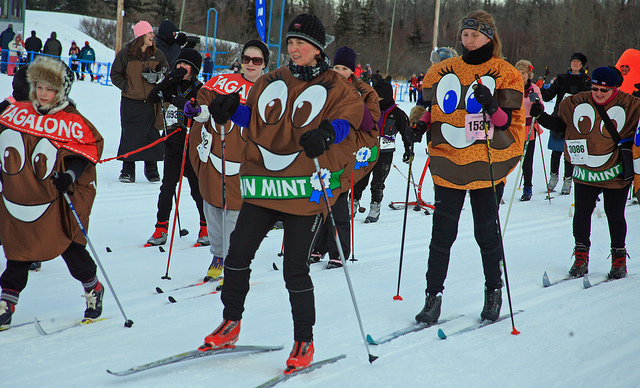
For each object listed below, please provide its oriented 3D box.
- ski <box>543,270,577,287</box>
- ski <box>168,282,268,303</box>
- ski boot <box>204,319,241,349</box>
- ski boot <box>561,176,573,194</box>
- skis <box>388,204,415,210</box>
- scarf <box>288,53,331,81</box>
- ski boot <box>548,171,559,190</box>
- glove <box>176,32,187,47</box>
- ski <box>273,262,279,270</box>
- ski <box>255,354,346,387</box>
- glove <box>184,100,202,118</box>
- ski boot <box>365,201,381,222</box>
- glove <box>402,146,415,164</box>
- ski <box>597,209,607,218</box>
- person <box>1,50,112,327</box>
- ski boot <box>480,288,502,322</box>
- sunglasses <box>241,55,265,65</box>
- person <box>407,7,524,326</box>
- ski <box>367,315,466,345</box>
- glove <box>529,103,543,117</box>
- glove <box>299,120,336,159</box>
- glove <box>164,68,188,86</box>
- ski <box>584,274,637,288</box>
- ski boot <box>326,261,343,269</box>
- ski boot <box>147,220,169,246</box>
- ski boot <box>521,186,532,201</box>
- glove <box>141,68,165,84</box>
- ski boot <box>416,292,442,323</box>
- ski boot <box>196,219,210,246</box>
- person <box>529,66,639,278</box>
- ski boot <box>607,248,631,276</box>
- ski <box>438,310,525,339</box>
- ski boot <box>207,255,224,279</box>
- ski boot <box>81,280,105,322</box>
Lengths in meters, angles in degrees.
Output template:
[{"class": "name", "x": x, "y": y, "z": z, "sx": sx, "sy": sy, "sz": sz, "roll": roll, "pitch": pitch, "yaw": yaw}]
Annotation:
[{"class": "ski", "x": 3.147, "y": 1.133, "z": 8.080, "sx": 0.542, "sy": 0.196, "sz": 0.157, "roll": -2, "pitch": 30, "yaw": -39}, {"class": "ski", "x": -1.505, "y": 1.211, "z": 7.519, "sx": 0.658, "sy": 0.090, "sz": 0.151, "roll": -5, "pitch": 14, "yaw": -28}, {"class": "ski boot", "x": -0.982, "y": 1.379, "z": 6.376, "sx": 0.370, "sy": 0.386, "sz": 0.166, "roll": -1, "pitch": 5, "yaw": -44}, {"class": "ski boot", "x": 4.913, "y": -0.180, "z": 12.302, "sx": 0.170, "sy": 0.354, "sz": 0.325, "roll": 5, "pitch": 12, "yaw": 20}, {"class": "skis", "x": 1.459, "y": 0.241, "z": 11.123, "sx": 0.302, "sy": 0.046, "sz": 0.163, "roll": -2, "pitch": 9, "yaw": -12}, {"class": "scarf", "x": -0.111, "y": -1.301, "z": 6.355, "sx": 0.429, "sy": 0.278, "sz": 0.221, "roll": 0, "pitch": 11, "yaw": -4}, {"class": "ski boot", "x": 4.693, "y": -0.250, "z": 12.394, "sx": 0.107, "sy": 0.352, "sz": 0.322, "roll": 6, "pitch": -21, "yaw": 37}, {"class": "glove", "x": -2.689, "y": -2.980, "z": 12.014, "sx": 0.157, "sy": 0.236, "sz": 0.085, "roll": 1, "pitch": 33, "yaw": 7}, {"class": "ski", "x": -0.593, "y": 0.971, "z": 8.266, "sx": 0.027, "sy": 0.102, "sz": 0.018, "roll": -37, "pitch": -23, "yaw": 18}, {"class": "ski", "x": -0.198, "y": 1.813, "z": 6.291, "sx": 0.744, "sy": 0.078, "sz": 0.098, "roll": -16, "pitch": 48, "yaw": -26}, {"class": "glove", "x": -1.505, "y": -1.016, "z": 7.365, "sx": 0.169, "sy": 0.236, "sz": 0.093, "roll": 12, "pitch": 53, "yaw": 19}, {"class": "ski boot", "x": 0.892, "y": 0.292, "z": 10.282, "sx": 0.138, "sy": 0.200, "sz": 0.438, "roll": 6, "pitch": 27, "yaw": 16}, {"class": "glove", "x": 1.339, "y": -0.590, "z": 9.479, "sx": 0.103, "sy": 0.278, "sz": 0.191, "roll": -2, "pitch": 5, "yaw": -41}, {"class": "ski", "x": 4.865, "y": 0.332, "z": 10.651, "sx": 0.131, "sy": 0.114, "sz": 0.328, "roll": 7, "pitch": 13, "yaw": 26}, {"class": "person", "x": -2.994, "y": -0.039, "z": 6.885, "sx": 1.110, "sy": 2.900, "sz": 0.755, "roll": -3, "pitch": 11, "yaw": -21}, {"class": "ski boot", "x": 2.004, "y": 1.294, "z": 7.166, "sx": 0.150, "sy": 0.213, "sz": 0.477, "roll": 0, "pitch": 40, "yaw": 28}, {"class": "sunglasses", "x": -0.833, "y": -1.669, "z": 7.729, "sx": 0.282, "sy": 0.113, "sz": 0.128, "roll": 0, "pitch": 12, "yaw": -7}, {"class": "person", "x": 1.656, "y": -0.268, "z": 6.985, "sx": 1.163, "sy": 3.487, "sz": 0.750, "roll": 4, "pitch": 11, "yaw": 17}, {"class": "ski", "x": 0.987, "y": 1.529, "z": 6.947, "sx": 1.066, "sy": 0.112, "sz": 0.133, "roll": -5, "pitch": 13, "yaw": -27}, {"class": "glove", "x": 2.703, "y": -1.040, "z": 7.697, "sx": 0.267, "sy": 0.164, "sz": 0.132, "roll": -6, "pitch": 13, "yaw": -30}, {"class": "glove", "x": -0.019, "y": -0.532, "z": 6.057, "sx": 0.344, "sy": 0.350, "sz": 0.210, "roll": -9, "pitch": 14, "yaw": -39}, {"class": "glove", "x": -2.000, "y": -1.618, "z": 8.607, "sx": 0.323, "sy": 0.251, "sz": 0.197, "roll": 11, "pitch": 15, "yaw": 40}, {"class": "ski", "x": 3.631, "y": 1.109, "z": 8.029, "sx": 0.553, "sy": 0.128, "sz": 0.103, "roll": -5, "pitch": 12, "yaw": -24}, {"class": "ski boot", "x": 0.186, "y": 0.963, "z": 8.423, "sx": 0.196, "sy": 0.067, "sz": 0.153, "roll": 2, "pitch": -4, "yaw": -24}, {"class": "ski boot", "x": -2.309, "y": 0.560, "z": 8.799, "sx": 0.134, "sy": 0.370, "sz": 0.380, "roll": 10, "pitch": 5, "yaw": 27}, {"class": "ski boot", "x": 3.975, "y": -0.030, "z": 11.857, "sx": 0.144, "sy": 0.262, "sz": 0.388, "roll": 6, "pitch": 13, "yaw": 27}, {"class": "glove", "x": -2.925, "y": -2.065, "z": 10.862, "sx": 0.587, "sy": 0.252, "sz": 0.246, "roll": 10, "pitch": 15, "yaw": 36}, {"class": "ski boot", "x": 1.257, "y": 1.314, "z": 7.077, "sx": 0.148, "sy": 0.328, "sz": 0.456, "roll": 7, "pitch": 2, "yaw": 39}, {"class": "ski boot", "x": -1.716, "y": 0.546, "z": 8.915, "sx": 0.148, "sy": 0.362, "sz": 0.273, "roll": -8, "pitch": 14, "yaw": -39}, {"class": "person", "x": 3.684, "y": -0.283, "z": 8.191, "sx": 0.937, "sy": 2.710, "sz": 0.532, "roll": 5, "pitch": 11, "yaw": 22}, {"class": "ski boot", "x": 3.995, "y": 0.889, "z": 8.223, "sx": 0.283, "sy": 0.345, "sz": 0.212, "roll": 2, "pitch": 11, "yaw": 4}, {"class": "ski", "x": 1.878, "y": 1.526, "z": 7.086, "sx": 1.154, "sy": 0.175, "sz": 0.153, "roll": -1, "pitch": 2, "yaw": -25}, {"class": "ski boot", "x": -1.324, "y": 0.933, "z": 7.867, "sx": 0.241, "sy": 0.276, "sz": 0.157, "roll": 3, "pitch": 11, "yaw": 10}, {"class": "ski boot", "x": -2.579, "y": 1.209, "z": 7.036, "sx": 0.141, "sy": 0.490, "sz": 0.199, "roll": -2, "pitch": -10, "yaw": 7}]
